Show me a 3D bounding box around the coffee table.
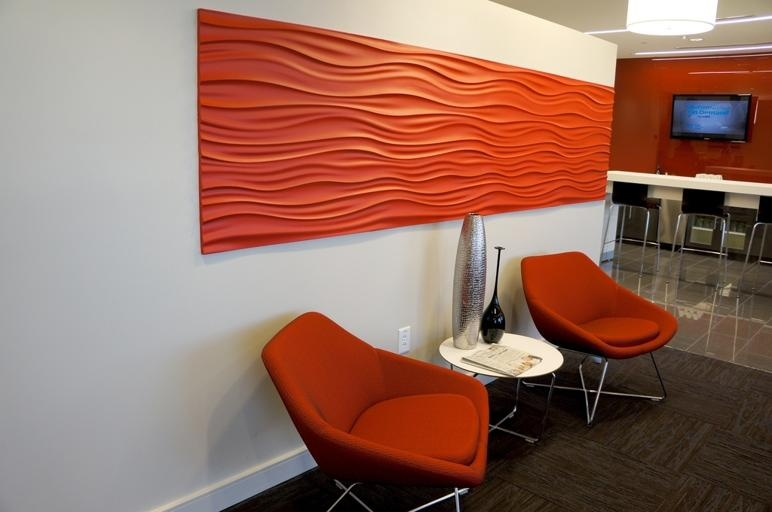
[{"bbox_3d":[0.815,0.957,3.554,0.740,0.470,0.714,19,30,39],"label":"coffee table"}]

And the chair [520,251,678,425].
[{"bbox_3d":[1.584,0.451,4.217,1.273,1.235,1.199,-2,1,-31],"label":"chair"}]
